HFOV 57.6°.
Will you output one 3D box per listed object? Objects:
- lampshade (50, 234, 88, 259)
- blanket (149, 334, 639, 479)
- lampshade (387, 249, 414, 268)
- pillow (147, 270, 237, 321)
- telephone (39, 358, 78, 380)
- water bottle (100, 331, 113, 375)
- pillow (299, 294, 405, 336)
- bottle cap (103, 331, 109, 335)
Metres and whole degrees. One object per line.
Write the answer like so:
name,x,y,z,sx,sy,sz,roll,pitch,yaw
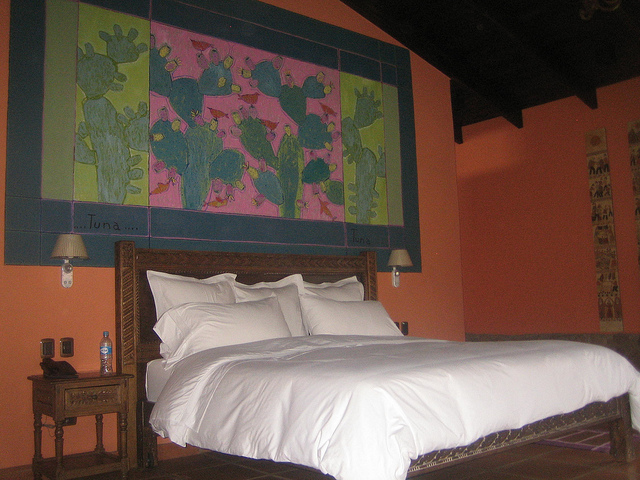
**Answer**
lampshade,-2.149,0.062,5.031,0.220,0.214,0.233,-3,-11,14
blanket,0.493,1.076,4.150,3.410,0.843,1.487,-5,-9,-12
lampshade,0.946,0.209,6.859,0.204,0.213,0.215,1,5,9
pillow,-1.176,0.513,5.261,0.464,0.354,0.077,11,-49,-31
telephone,-2.140,1.047,4.763,0.423,0.194,0.182,-13,-11,35
water bottle,-1.831,0.970,4.996,0.100,0.360,0.168,-3,-9,-21
pillow,0.313,0.790,5.925,1.063,0.296,0.791,7,21,-19
bottle cap,-1.866,0.805,5.098,0.042,0.032,0.045,1,-1,14
